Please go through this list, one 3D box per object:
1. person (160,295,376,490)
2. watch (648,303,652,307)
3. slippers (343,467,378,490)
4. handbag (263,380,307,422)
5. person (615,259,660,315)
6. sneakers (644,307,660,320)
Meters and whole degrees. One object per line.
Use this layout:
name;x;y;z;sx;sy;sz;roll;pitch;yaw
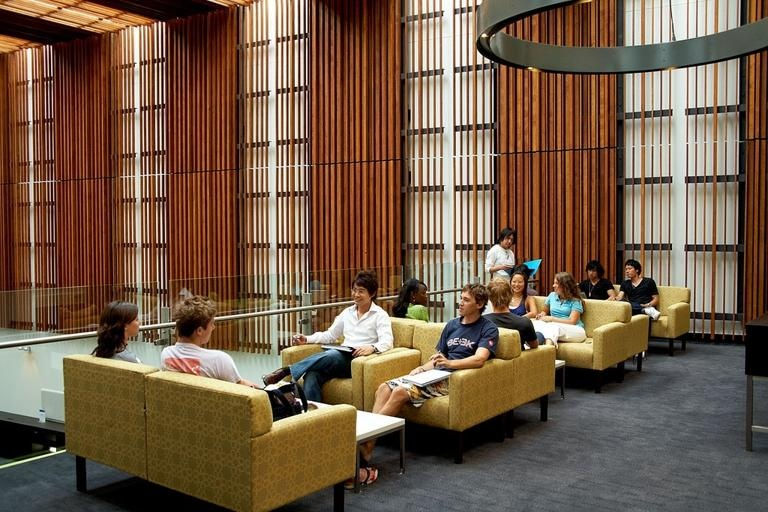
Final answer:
person;-1.409;1.025;6.236;1.085;1.022;0.692;9;15;27
watch;4.023;0.723;10.509;0.039;0.052;0.048;1;-7;-3
slippers;-0.189;2.055;6.499;0.134;0.078;0.304;10;15;39
handbag;-0.860;1.224;6.123;0.235;0.349;0.344;-14;38;-28
person;3.797;0.479;10.514;0.687;0.911;0.875;-3;-3;0
sneakers;3.998;0.842;10.384;0.130;0.120;0.313;5;4;2
